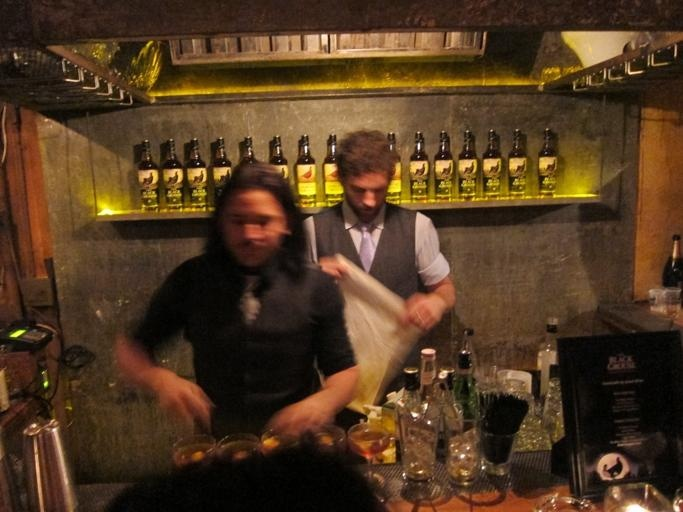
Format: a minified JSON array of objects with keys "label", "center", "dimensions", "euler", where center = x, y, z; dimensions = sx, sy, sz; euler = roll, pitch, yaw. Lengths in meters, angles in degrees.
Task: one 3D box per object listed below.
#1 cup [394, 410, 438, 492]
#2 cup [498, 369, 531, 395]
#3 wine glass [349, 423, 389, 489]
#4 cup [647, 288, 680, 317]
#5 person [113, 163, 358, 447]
[{"label":"cup","center":[0.240,0.601,1.913],"dimensions":[0.118,0.192,0.141],"euler":[-3,1,5]},{"label":"cup","center":[0.650,0.468,2.284],"dimensions":[0.109,0.069,0.102],"euler":[0,0,0]},{"label":"wine glass","center":[0.079,0.618,1.933],"dimensions":[0.128,0.160,0.189],"euler":[-3,1,-5]},{"label":"cup","center":[1.702,0.246,3.242],"dimensions":[0.134,0.105,0.164],"euler":[-4,6,-40]},{"label":"person","center":[-0.373,0.165,2.101],"dimensions":[0.823,0.853,0.377],"euler":[-3,1,0]}]
